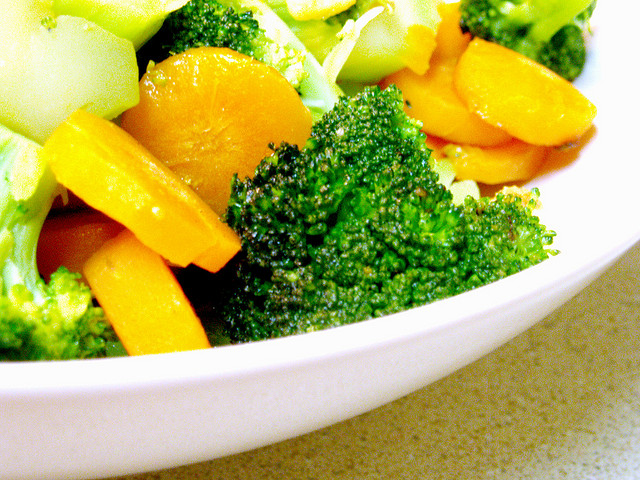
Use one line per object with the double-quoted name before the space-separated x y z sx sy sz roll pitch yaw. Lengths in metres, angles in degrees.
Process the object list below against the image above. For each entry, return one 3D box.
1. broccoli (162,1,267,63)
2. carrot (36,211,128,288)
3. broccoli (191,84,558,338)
"broccoli" -0.183 -0.373 1.069 0.124 0.045 0.139 16 55 -20
"carrot" -0.387 0.000 1.020 0.155 0.054 0.178 -20 28 -23
"broccoli" 0.072 -0.043 0.905 0.452 0.177 0.475 1 82 -5
